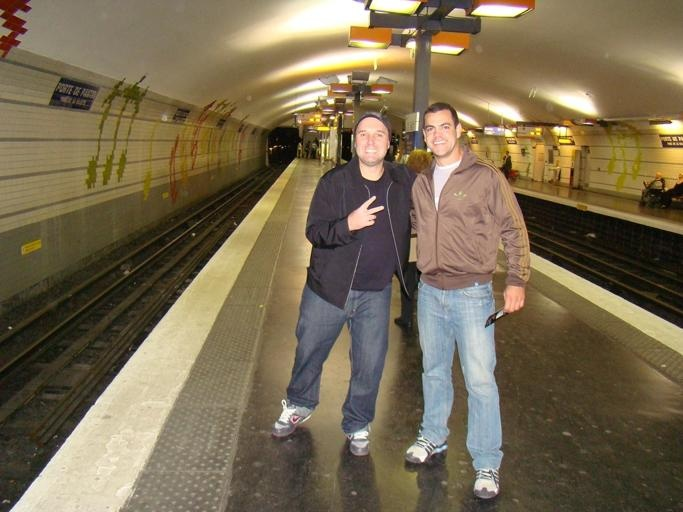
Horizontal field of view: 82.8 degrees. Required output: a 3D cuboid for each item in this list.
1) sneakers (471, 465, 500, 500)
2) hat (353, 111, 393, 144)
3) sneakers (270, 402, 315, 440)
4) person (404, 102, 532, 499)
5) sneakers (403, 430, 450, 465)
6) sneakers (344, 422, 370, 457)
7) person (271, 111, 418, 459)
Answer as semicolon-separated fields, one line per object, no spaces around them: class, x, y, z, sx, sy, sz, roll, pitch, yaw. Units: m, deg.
sneakers;0.771;1.210;2.049;0.076;0.075;0.194;-2;6;14
hat;0.182;-0.789;2.350;0.214;0.200;0.056;-6;9;-22
sneakers;-0.339;1.075;2.587;0.127;0.173;0.384;0;-2;21
person;0.654;0.198;2.178;0.686;2.097;0.588;6;12;24
sneakers;0.524;1.143;2.350;0.296;0.131;0.099;-3;-1;-37
sneakers;0.112;1.130;2.350;0.119;0.138;0.095;0;11;-8
person;0.033;0.155;2.467;0.718;2.028;0.611;5;12;18
